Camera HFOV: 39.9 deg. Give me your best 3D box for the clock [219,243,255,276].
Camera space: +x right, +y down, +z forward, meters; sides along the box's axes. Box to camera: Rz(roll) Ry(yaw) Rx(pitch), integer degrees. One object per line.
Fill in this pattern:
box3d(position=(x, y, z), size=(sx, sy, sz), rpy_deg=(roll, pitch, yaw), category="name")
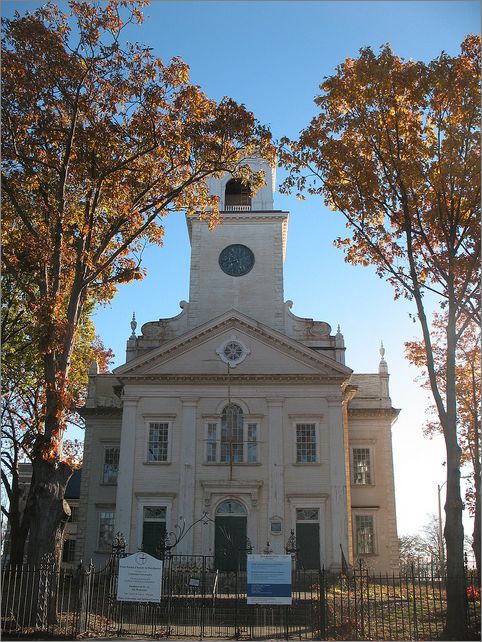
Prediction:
box3d(position=(-0.263, -3.523, 38.584), size=(1.360, 1.362, 0.156), rpy_deg=(-42, -21, -7), category="clock")
